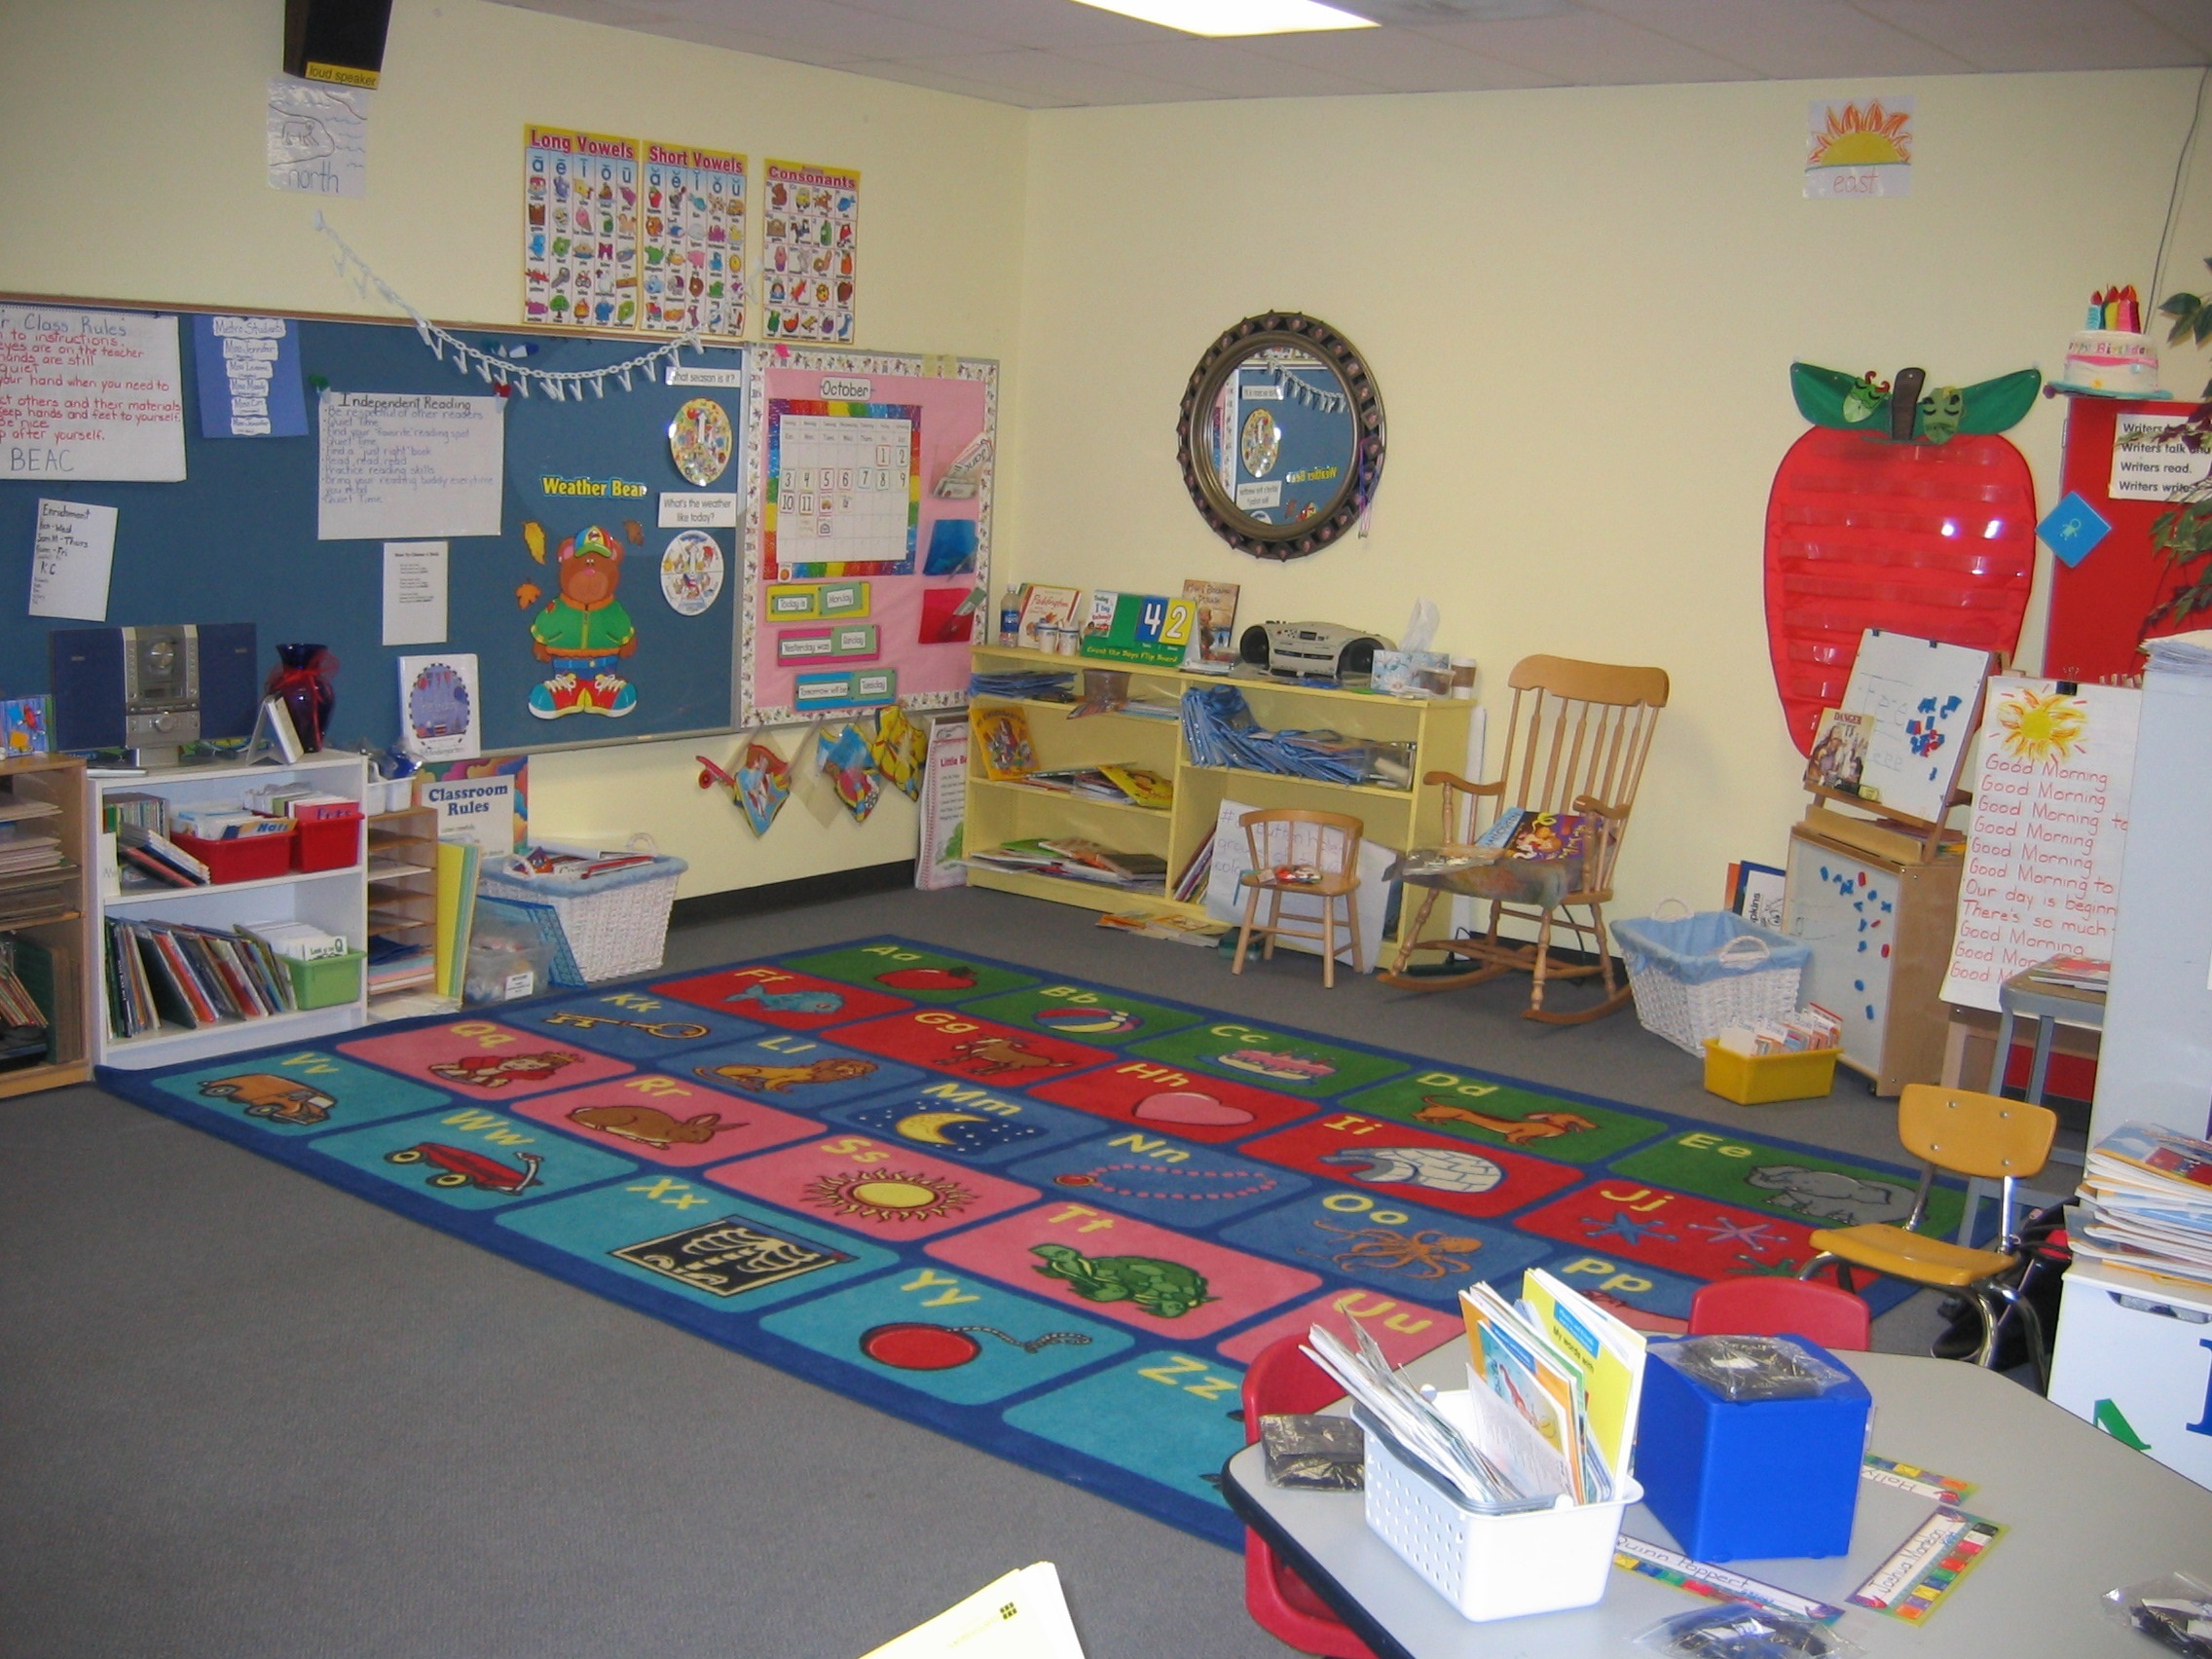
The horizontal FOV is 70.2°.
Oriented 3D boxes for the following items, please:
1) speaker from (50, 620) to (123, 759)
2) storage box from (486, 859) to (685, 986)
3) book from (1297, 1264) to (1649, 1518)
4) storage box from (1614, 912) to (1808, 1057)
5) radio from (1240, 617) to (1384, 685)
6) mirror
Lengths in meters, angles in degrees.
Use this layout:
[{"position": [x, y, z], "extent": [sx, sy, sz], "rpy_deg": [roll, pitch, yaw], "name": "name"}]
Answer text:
[{"position": [-3.537, -0.469, 5.465], "extent": [0.216, 0.431, 0.063], "rpy_deg": [-2, 13, -25], "name": "speaker"}, {"position": [-2.215, 0.358, 6.690], "extent": [0.546, 0.409, 0.634], "rpy_deg": [5, 5, 39], "name": "storage box"}, {"position": [0.465, 0.738, 1.916], "extent": [0.296, 0.222, 0.337], "rpy_deg": [-10, 16, -25], "name": "book"}, {"position": [2.505, 0.644, 6.520], "extent": [0.509, 0.450, 0.655], "rpy_deg": [-3, 8, -21], "name": "storage box"}, {"position": [0.994, -0.877, 7.788], "extent": [0.765, 0.289, 0.285], "rpy_deg": [13, 16, 40], "name": "radio"}, {"position": [0.922, -2.024, 7.959], "extent": [1.271, 1.214, 0.169], "rpy_deg": [9, 13, 34], "name": "mirror"}]
